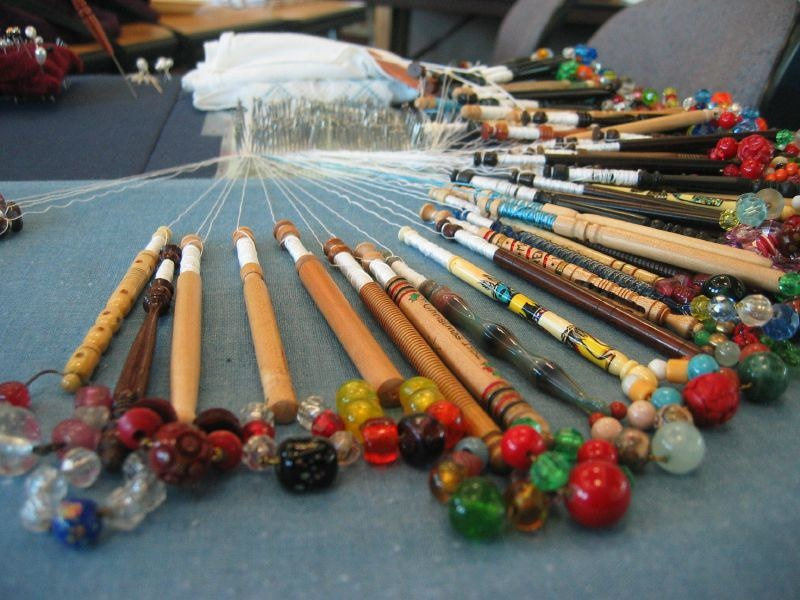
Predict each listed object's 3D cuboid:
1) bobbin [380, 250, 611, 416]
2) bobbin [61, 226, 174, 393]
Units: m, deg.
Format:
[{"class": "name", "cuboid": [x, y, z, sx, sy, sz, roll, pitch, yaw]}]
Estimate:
[{"class": "bobbin", "cuboid": [0.150, 0.056, 0.800, 0.043, 0.042, 0.371, -50, 52, 0]}, {"class": "bobbin", "cuboid": [-0.431, -0.005, 0.855, 0.048, 0.043, 0.372, 34, 39, -5]}]
